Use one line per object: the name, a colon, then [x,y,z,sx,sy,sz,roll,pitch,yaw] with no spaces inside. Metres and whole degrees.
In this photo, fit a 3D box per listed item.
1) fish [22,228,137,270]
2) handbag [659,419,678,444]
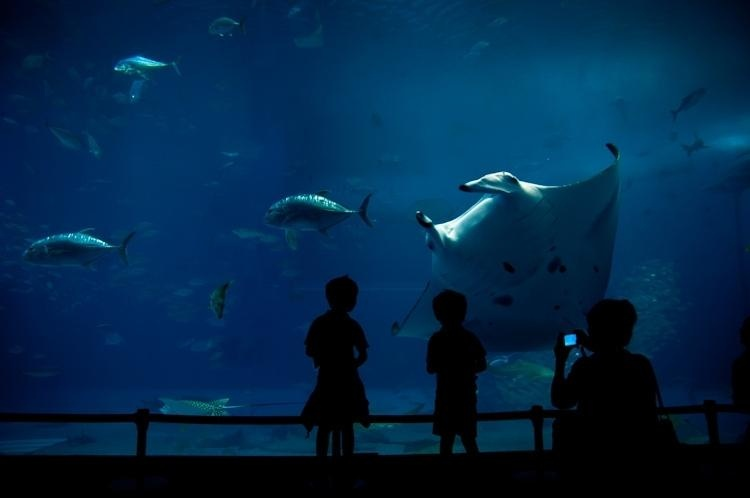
fish: [-12.230,-0.077,30.307,3.638,1.424,0.562,-1,-18,-2]
handbag: [10.463,6.506,26.859,0.536,0.955,0.169,-8,-4,-1]
